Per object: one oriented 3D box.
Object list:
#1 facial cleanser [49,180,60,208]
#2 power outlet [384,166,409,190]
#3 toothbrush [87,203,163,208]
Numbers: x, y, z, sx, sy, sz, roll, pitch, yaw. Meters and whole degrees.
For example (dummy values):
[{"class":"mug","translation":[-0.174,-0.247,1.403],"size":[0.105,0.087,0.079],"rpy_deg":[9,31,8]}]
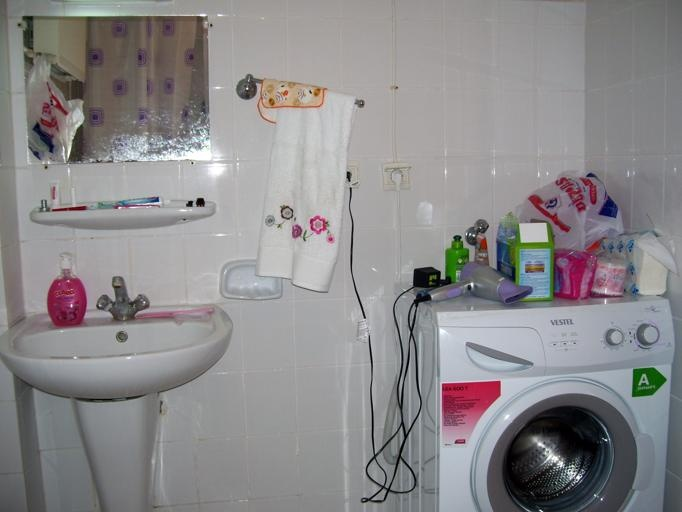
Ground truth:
[{"class":"facial cleanser","translation":[-1.015,-0.224,2.003],"size":[0.028,0.089,0.038],"rpy_deg":[-3,8,-28]},{"class":"power outlet","translation":[0.205,-0.302,2.141],"size":[0.072,0.077,0.032],"rpy_deg":[-1,11,-7]},{"class":"toothbrush","translation":[-0.751,-0.179,1.966],"size":[0.239,0.020,0.075],"rpy_deg":[0,8,-9]}]
